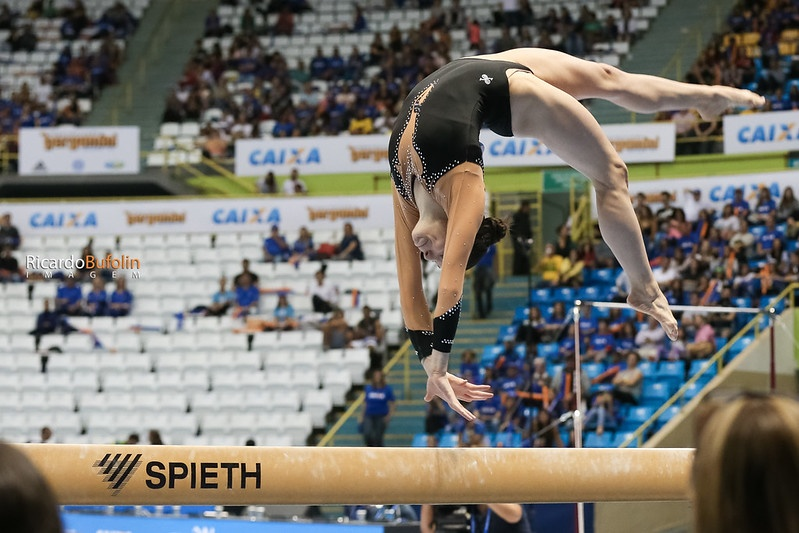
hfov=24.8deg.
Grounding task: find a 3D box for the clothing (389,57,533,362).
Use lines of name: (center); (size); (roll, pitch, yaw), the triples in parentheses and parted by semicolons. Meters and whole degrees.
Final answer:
clothing: (0.750, -0.922, 24.166); (2.021, 3.581, 1.391); (1, -8, 44)
